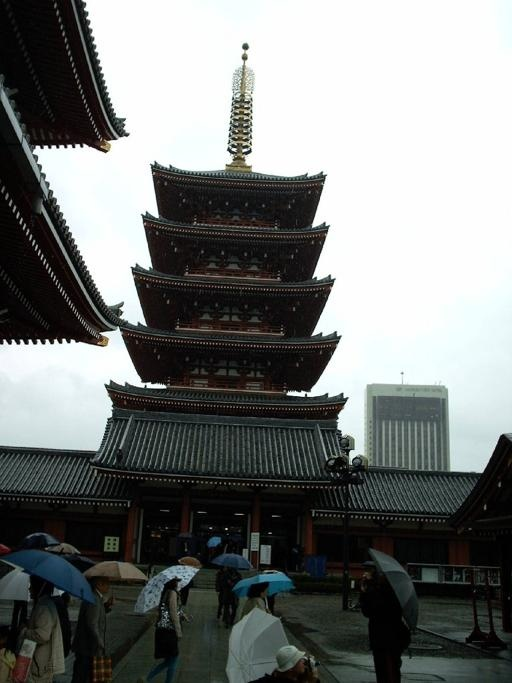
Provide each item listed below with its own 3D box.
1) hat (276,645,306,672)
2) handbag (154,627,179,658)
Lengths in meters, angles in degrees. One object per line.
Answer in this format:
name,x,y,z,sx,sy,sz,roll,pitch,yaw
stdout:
hat,0.220,1.971,3.654,0.178,0.139,0.203,2,-27,5
handbag,-1.144,3.845,7.496,0.316,0.350,0.219,6,-27,-2
